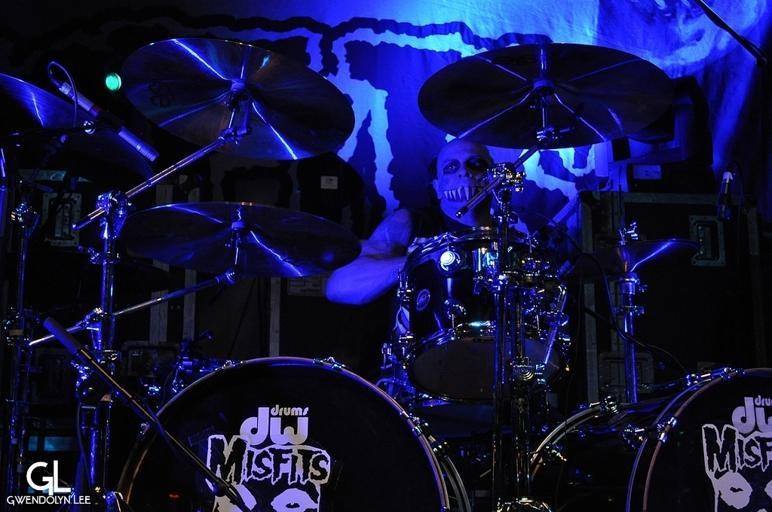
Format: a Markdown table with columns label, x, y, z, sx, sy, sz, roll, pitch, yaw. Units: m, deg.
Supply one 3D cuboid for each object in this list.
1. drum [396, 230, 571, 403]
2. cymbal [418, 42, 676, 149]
| label | x | y | z | sx | sy | sz | roll | pitch | yaw |
| --- | --- | --- | --- | --- | --- | --- | --- | --- | --- |
| drum | 0.463 | 0.314 | 5.743 | 0.888 | 0.568 | 0.863 | 2 | -39 | 1 |
| cymbal | 0.789 | -0.776 | 5.825 | 1.256 | 0.338 | 0.708 | 0 | -14 | 4 |
